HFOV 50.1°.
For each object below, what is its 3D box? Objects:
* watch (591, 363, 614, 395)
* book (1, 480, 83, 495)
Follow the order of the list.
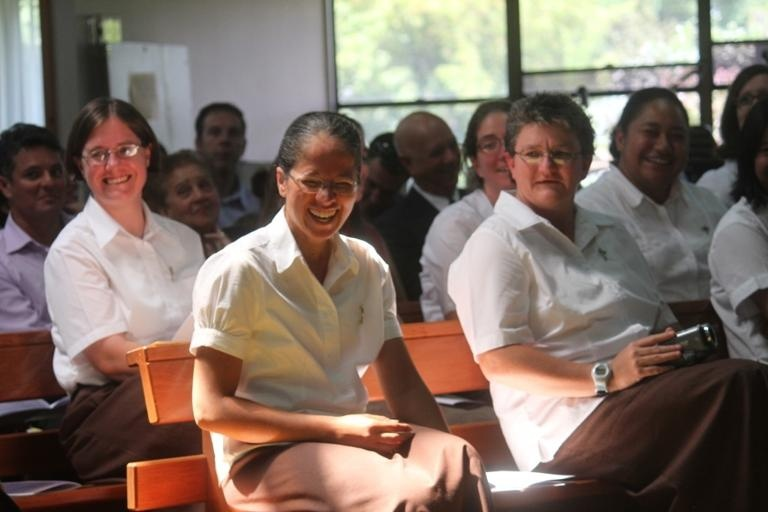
[{"bbox_3d":[0.811,0.460,3.108,0.073,0.110,0.111,2,-20,13],"label":"watch"},{"bbox_3d":[-1.297,0.881,3.123,0.161,0.022,0.141,3,-6,-39],"label":"book"}]
